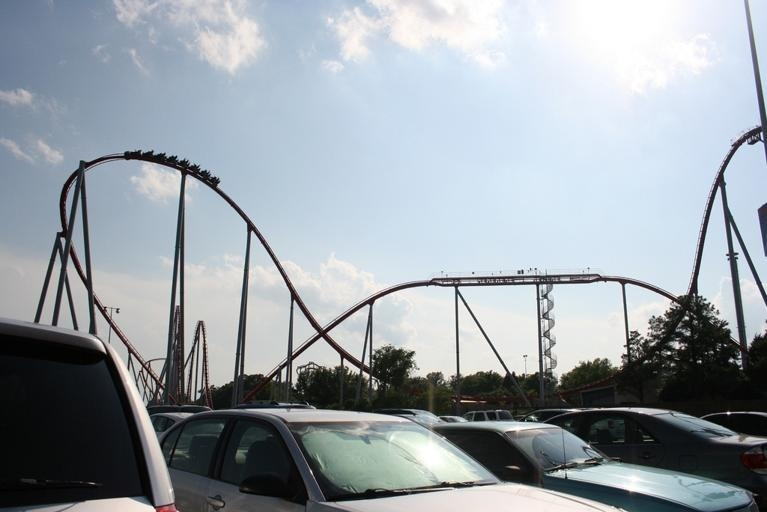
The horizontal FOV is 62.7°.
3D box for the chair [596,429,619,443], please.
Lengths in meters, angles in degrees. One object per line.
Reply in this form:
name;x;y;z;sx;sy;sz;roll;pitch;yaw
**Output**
chair;3.071;2.486;8.682;0.184;0.188;0.188;-2;-12;39
